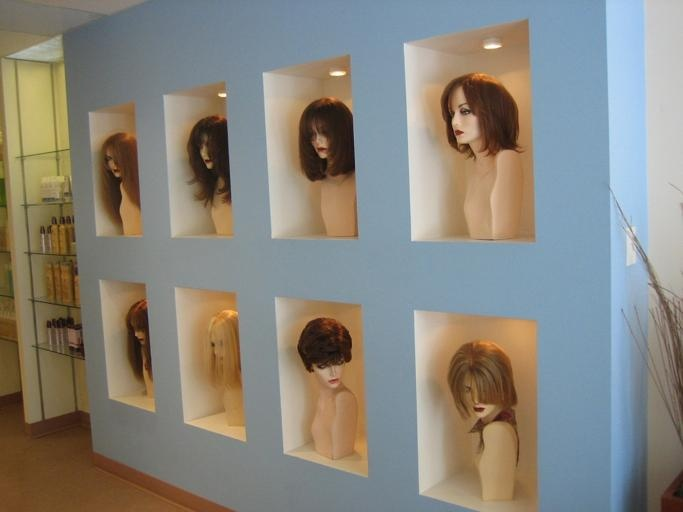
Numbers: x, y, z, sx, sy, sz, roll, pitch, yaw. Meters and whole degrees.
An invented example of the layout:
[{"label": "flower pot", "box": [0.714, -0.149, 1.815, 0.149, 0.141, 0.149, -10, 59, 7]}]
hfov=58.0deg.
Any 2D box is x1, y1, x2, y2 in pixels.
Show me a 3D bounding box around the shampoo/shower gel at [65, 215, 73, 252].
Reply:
[{"label": "shampoo/shower gel", "box": [-2.059, -0.161, 4.675, 0.057, 0.273, 0.140, -5, 8, -24]}]
